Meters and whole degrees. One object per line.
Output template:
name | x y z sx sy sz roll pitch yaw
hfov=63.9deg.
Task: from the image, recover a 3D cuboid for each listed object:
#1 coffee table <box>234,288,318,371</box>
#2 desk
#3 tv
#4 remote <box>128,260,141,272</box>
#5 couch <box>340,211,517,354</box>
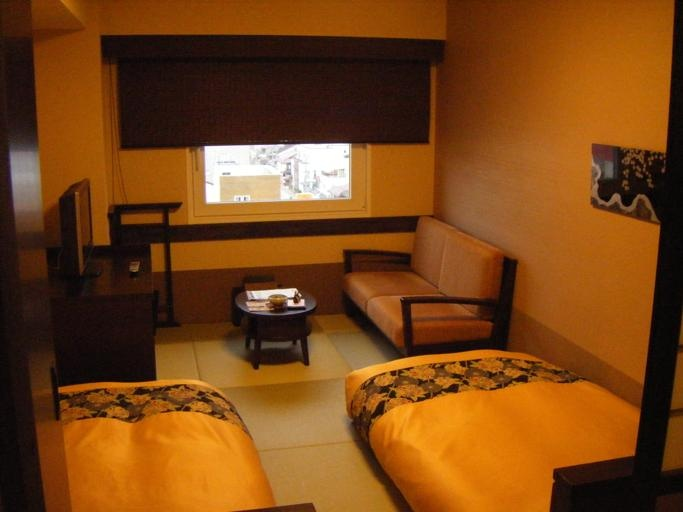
coffee table | -0.584 0.621 4.779 0.717 0.577 0.585 1 13 8
desk | -1.729 0.479 4.148 0.622 0.605 1.204 -2 8 -18
tv | -1.950 -0.162 4.076 0.235 0.607 0.815 -1 12 -10
remote | -1.555 0.081 4.132 0.072 0.031 0.126 0 18 -4
couch | 0.724 0.212 5.018 1.006 0.890 1.561 -4 13 -17
